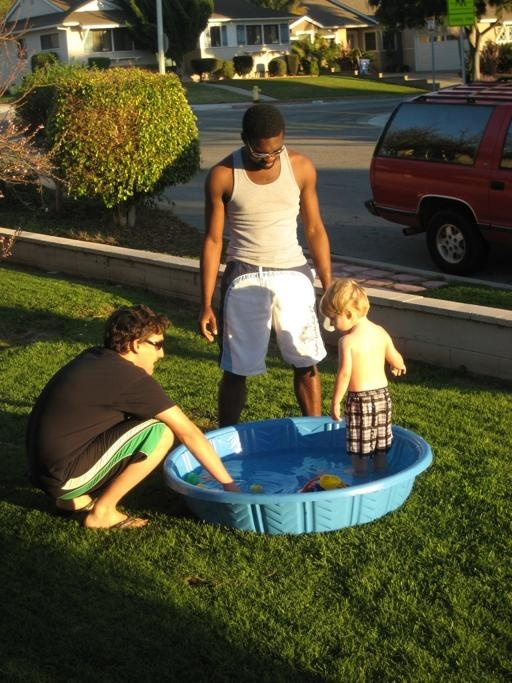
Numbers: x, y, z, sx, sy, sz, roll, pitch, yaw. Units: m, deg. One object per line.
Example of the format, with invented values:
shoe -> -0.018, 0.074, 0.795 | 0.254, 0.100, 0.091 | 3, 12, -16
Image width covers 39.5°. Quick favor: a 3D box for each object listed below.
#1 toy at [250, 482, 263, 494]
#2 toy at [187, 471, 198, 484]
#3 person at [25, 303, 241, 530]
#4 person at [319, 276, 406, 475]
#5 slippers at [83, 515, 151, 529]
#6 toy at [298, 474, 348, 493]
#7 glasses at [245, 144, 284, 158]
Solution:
toy -> 0.000, 0.750, 3.644 | 0.054, 0.030, 0.043 | 1, 4, 2
toy -> -0.333, 0.716, 3.754 | 0.051, 0.033, 0.050 | 9, 12, 37
person -> -0.503, 0.332, 3.335 | 1.057, 0.926, 0.933 | -4, 8, -20
person -> 0.530, 0.129, 3.519 | 0.416, 0.864, 0.302 | -2, 17, -5
slippers -> -0.623, 0.832, 3.246 | 0.214, 0.037, 0.090 | 1, -2, -11
toy -> 0.323, 0.665, 3.445 | 0.174, 0.058, 0.135 | 0, 0, -20
glasses -> 0.043, -0.909, 3.439 | 0.173, 0.071, 0.188 | 1, 15, 1
